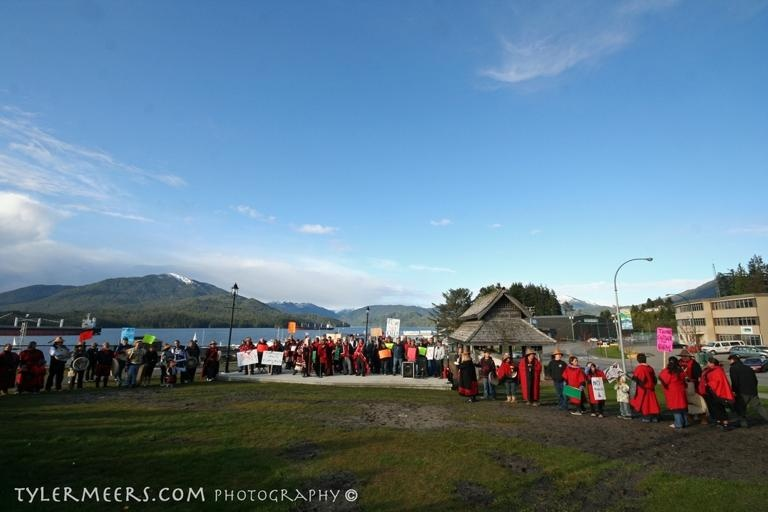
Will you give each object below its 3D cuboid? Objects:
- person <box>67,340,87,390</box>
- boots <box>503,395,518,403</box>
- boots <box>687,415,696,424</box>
[{"bbox_3d":[-17.036,6.028,21.426,0.812,2.441,1.010,11,-19,-34],"label":"person"},{"bbox_3d":[6.904,7.831,21.191,0.565,0.603,0.569,-15,-30,41],"label":"boots"},{"bbox_3d":[14.059,7.455,17.618,0.341,0.291,0.329,-9,-34,29],"label":"boots"}]
